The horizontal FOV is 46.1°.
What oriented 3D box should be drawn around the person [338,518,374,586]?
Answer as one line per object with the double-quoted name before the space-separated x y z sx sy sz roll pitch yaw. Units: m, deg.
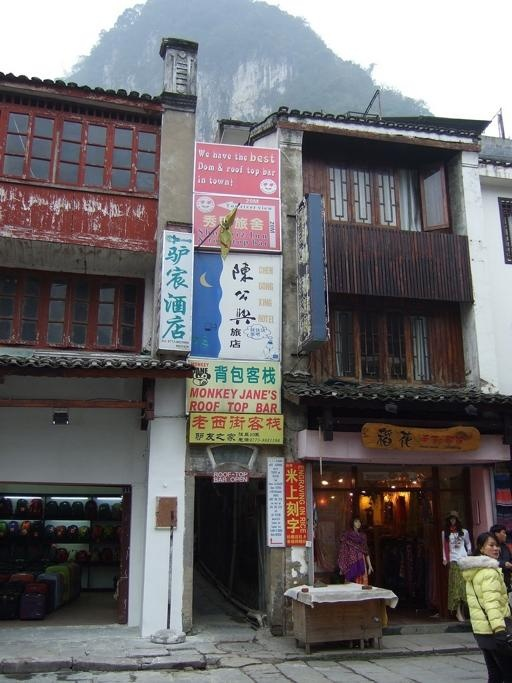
"person" 1.578 3.456 9.473 0.525 1.283 0.281 -2 5 -12
